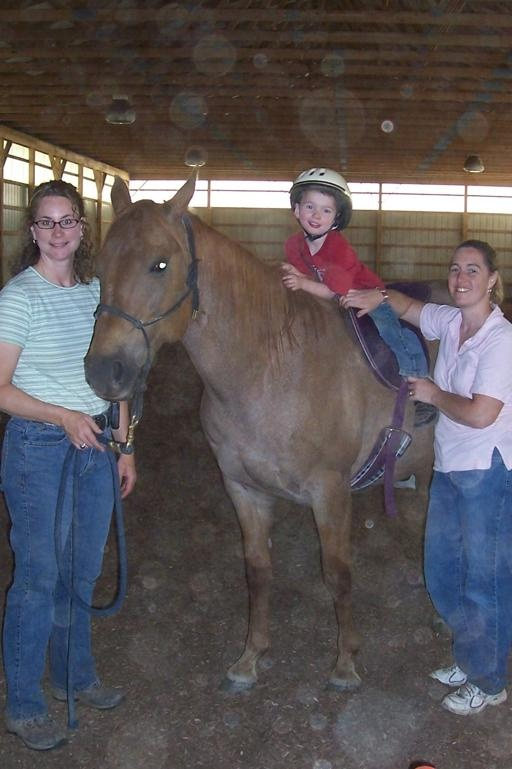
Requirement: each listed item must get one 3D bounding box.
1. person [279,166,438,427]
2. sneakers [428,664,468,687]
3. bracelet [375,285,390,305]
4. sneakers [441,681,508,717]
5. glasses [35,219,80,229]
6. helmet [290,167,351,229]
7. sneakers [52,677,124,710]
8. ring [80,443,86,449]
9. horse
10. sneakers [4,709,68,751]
[{"bbox_3d":[0.410,-0.338,2.870,0.520,0.949,0.370,-8,12,4],"label":"person"},{"bbox_3d":[0.726,1.093,2.781,0.161,0.070,0.059,6,22,18],"label":"sneakers"},{"bbox_3d":[0.463,-0.325,2.733,0.054,0.071,0.077,8,53,17],"label":"bracelet"},{"bbox_3d":[0.747,1.107,2.597,0.251,0.110,0.090,-3,53,1],"label":"sneakers"},{"bbox_3d":[-0.612,-0.495,2.288,0.130,0.041,0.039,-4,12,-22],"label":"glasses"},{"bbox_3d":[0.265,-0.719,2.859,0.223,0.215,0.240,3,16,10],"label":"helmet"},{"bbox_3d":[-0.562,1.093,2.658,0.303,0.111,0.111,2,6,-2],"label":"sneakers"},{"bbox_3d":[-0.535,0.194,2.306,0.018,0.019,0.050,-1,-13,-10],"label":"ring"},{"bbox_3d":[-0.023,0.238,2.542,1.225,1.792,0.421,-6,14,-29],"label":"horse"},{"bbox_3d":[-0.698,1.117,2.382,0.208,0.083,0.092,4,4,18],"label":"sneakers"}]
